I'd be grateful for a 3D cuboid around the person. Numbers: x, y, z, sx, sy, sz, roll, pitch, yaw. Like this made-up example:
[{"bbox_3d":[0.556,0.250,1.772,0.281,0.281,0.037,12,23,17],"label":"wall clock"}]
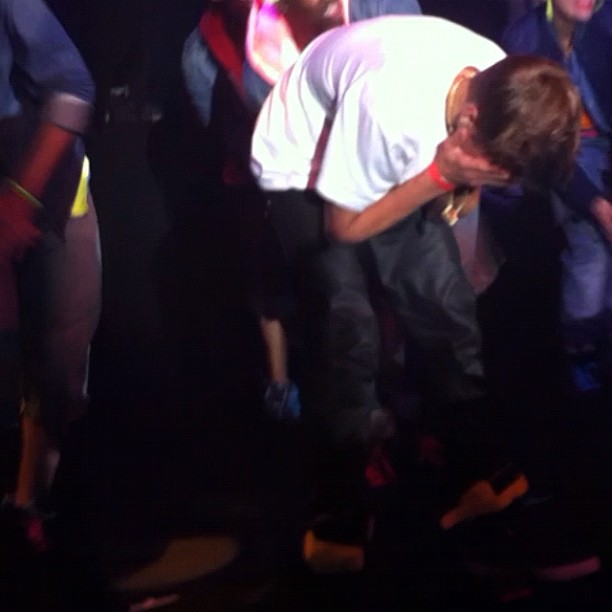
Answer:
[{"bbox_3d":[0.160,-0.418,1.779,1.006,1.946,0.854,24,52,28],"label":"person"}]
